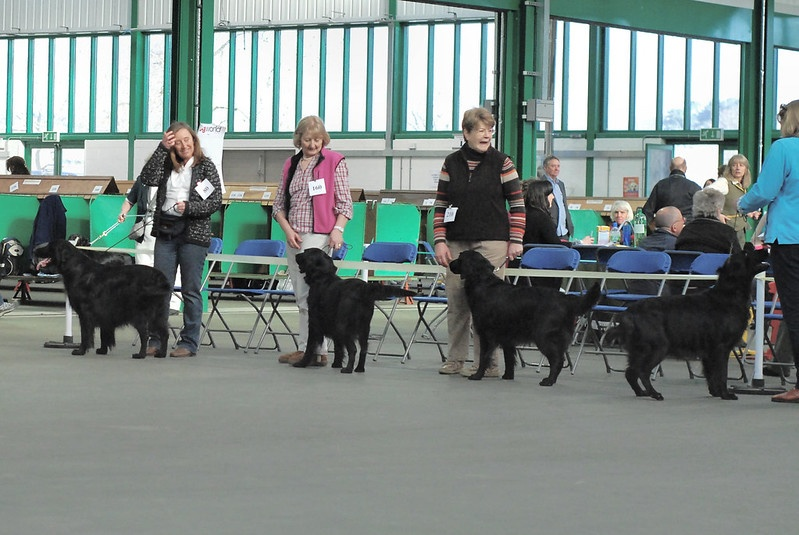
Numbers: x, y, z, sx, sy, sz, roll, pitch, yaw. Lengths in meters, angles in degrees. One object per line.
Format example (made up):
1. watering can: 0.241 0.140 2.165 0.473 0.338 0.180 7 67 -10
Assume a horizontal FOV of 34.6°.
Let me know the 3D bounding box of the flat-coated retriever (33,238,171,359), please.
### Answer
1. flat-coated retriever: -2.832 0.296 12.011 1.268 1.026 0.391 3 1 7

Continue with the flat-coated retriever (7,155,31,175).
1. flat-coated retriever: -5.342 -1.451 18.071 0.275 0.378 0.369 -1 5 -22

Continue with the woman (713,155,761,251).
1. woman: 4.142 -0.722 15.350 0.419 1.363 0.520 19 50 39

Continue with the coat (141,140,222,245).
1. coat: -2.135 -0.708 12.142 0.754 1.022 0.514 10 9 -16

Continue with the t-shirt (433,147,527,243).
1. t-shirt: 0.696 -0.631 11.455 0.865 0.894 0.486 2 1 22

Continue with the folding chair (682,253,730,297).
1. folding chair: 2.847 0.053 11.962 0.335 0.599 0.428 4 -10 21

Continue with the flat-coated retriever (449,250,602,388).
1. flat-coated retriever: 1.031 0.436 11.025 1.489 1.090 0.392 5 5 37

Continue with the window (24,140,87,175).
1. window: -8.145 -2.638 30.335 1.854 0.827 0.260 6 12 24

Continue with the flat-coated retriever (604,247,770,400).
1. flat-coated retriever: 2.369 0.471 10.565 1.362 1.226 0.467 -3 3 -13

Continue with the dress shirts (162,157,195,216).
1. dress shirts: -2.095 -0.749 12.139 0.298 0.432 0.143 6 -2 5

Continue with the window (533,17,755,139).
1. window: 5.118 -3.984 27.191 3.826 2.329 0.582 6 12 23

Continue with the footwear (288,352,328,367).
1. footwear: -0.829 0.836 11.708 0.391 0.173 0.135 4 -4 10

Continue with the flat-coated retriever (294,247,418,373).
1. flat-coated retriever: -0.458 0.382 11.398 0.433 1.075 1.488 1 1 -43

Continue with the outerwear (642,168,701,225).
1. outerwear: 3.237 -0.839 15.381 0.611 0.653 0.450 3 11 9

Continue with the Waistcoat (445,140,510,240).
1. Waistcoat: 0.661 -0.627 11.483 0.665 0.962 0.501 1 -12 16
